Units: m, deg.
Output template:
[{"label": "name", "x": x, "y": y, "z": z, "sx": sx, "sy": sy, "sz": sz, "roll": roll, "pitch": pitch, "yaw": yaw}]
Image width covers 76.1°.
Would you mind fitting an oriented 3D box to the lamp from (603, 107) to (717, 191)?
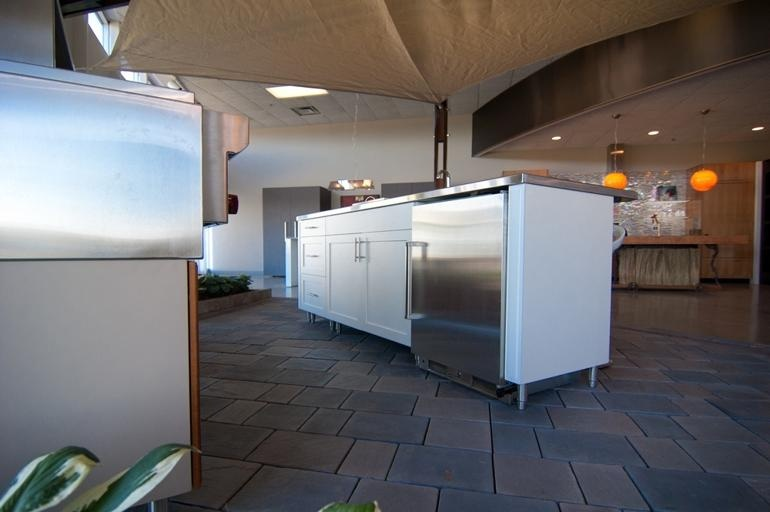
[{"label": "lamp", "x": 4.553, "y": -1.753, "z": 8.033, "sx": 1.830, "sy": 1.498, "sz": 0.495, "roll": 1, "pitch": 2, "yaw": 20}]
